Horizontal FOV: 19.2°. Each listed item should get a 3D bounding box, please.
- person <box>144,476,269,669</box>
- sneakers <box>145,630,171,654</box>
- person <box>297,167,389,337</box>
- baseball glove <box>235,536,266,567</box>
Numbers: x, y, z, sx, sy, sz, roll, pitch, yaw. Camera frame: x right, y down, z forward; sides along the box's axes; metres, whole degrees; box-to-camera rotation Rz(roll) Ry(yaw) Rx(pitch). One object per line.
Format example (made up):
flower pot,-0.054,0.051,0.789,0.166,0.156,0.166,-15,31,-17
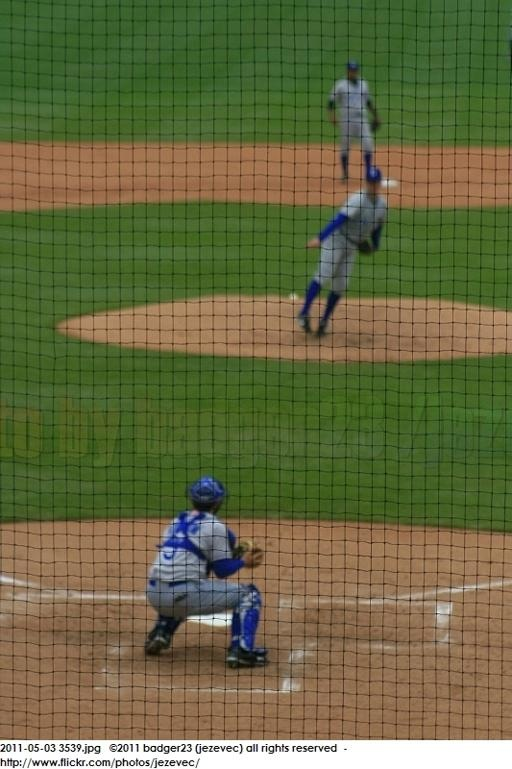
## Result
person,-0.343,1.339,10.400,1.024,1.317,0.789,6,5,42
sneakers,-0.644,1.709,9.961,0.076,0.123,0.198,8,-13,-20
person,0.816,-1.269,14.460,0.765,1.680,1.258,3,9,1
baseball glove,-0.037,1.089,9.991,0.164,0.321,0.172,12,55,15
